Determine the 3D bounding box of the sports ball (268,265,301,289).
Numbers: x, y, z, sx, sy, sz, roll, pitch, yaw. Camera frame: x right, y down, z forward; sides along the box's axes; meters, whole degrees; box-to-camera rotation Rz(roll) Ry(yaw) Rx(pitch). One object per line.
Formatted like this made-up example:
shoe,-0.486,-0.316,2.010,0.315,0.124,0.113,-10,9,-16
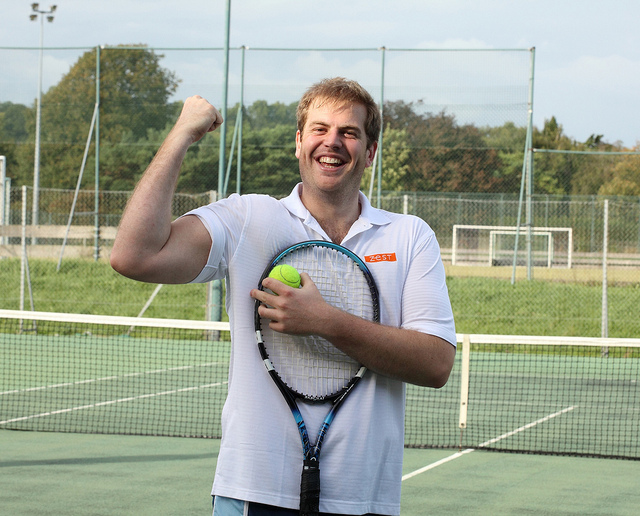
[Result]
sports ball,-0.192,0.103,4.997,0.127,0.151,0.141,3,24,-10
